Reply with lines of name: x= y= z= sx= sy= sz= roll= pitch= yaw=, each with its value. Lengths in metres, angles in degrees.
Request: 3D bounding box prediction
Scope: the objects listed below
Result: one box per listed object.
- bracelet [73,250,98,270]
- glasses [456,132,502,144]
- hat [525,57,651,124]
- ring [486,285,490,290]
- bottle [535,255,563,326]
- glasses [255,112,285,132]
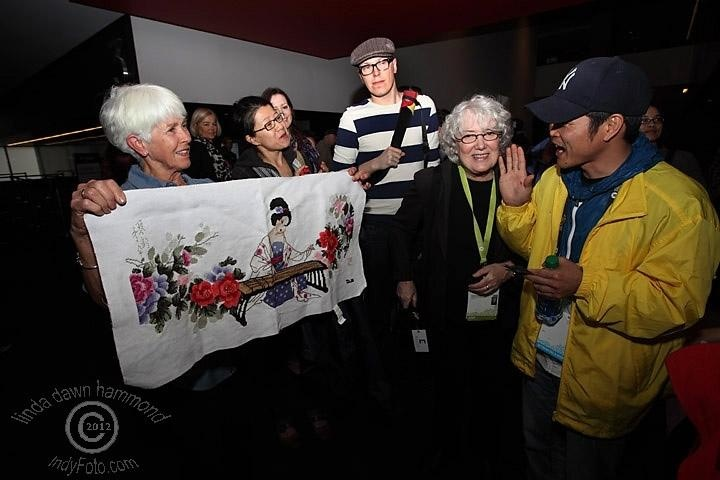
bracelet: x=-1.843 y=0.154 z=2.873 sx=0.163 sy=0.157 sz=0.045 roll=20 pitch=48 yaw=-12
glasses: x=0.951 y=-0.827 z=3.388 sx=0.331 sy=0.086 sz=0.070 roll=-5 pitch=21 yaw=4
hat: x=1.586 y=-1.037 z=2.970 sx=0.682 sy=0.366 sz=0.462 roll=3 pitch=25 yaw=8
ring: x=1.028 y=0.364 z=3.384 sx=0.027 sy=0.031 sz=0.008 roll=-10 pitch=20 yaw=-9
bottle: x=1.327 y=0.351 z=2.961 sx=0.192 sy=0.518 sz=0.201 roll=-21 pitch=35 yaw=16
glasses: x=-0.707 y=-0.932 z=3.427 sx=0.166 sy=0.051 sz=0.172 roll=-7 pitch=27 yaw=40
